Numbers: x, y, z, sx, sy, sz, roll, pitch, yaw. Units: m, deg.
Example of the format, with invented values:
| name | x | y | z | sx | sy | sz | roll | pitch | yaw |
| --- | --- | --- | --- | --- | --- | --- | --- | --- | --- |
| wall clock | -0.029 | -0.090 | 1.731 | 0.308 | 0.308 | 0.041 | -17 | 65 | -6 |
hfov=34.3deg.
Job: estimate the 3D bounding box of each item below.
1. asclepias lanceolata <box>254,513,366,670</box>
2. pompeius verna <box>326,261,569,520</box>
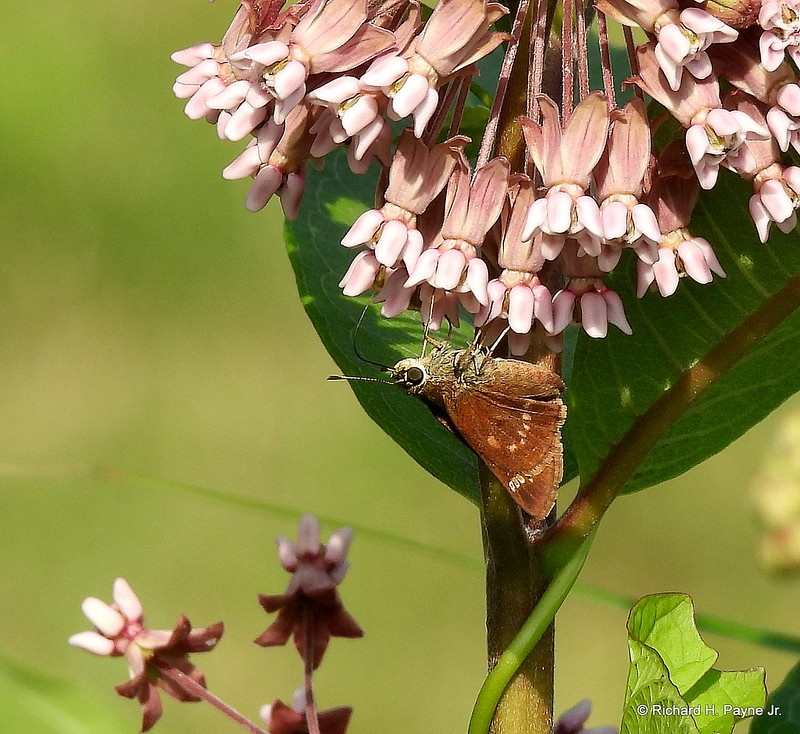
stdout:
| name | x | y | z | sx | sy | sz | roll | pitch | yaw |
| --- | --- | --- | --- | --- | --- | --- | --- | --- | --- |
| asclepias lanceolata | -0.109 | 0.289 | 1.556 | 0.108 | 0.210 | 0.136 | -3 | -17 | -13 |
| pompeius verna | 0.068 | 0.051 | 1.533 | 0.188 | 0.219 | 0.361 | 1 | -92 | 30 |
